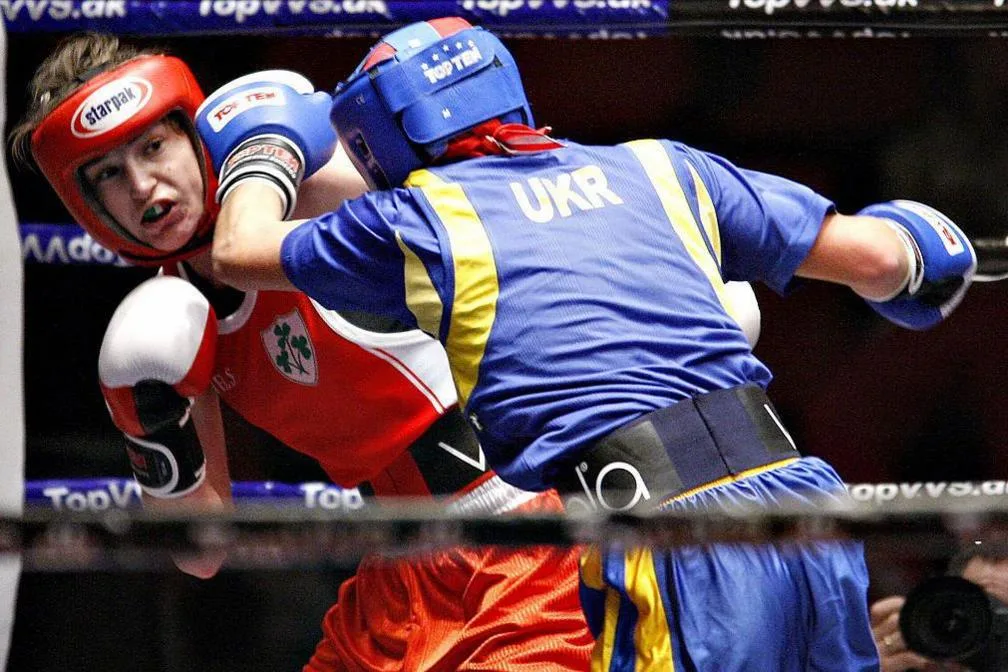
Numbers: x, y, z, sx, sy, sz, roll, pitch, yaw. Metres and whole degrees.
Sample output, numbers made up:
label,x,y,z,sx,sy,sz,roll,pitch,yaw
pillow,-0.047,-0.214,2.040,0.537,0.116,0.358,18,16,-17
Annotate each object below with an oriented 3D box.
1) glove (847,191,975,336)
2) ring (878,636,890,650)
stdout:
label,x,y,z,sx,sy,sz,roll,pitch,yaw
glove,1.072,-0.193,2.811,0.252,0.341,0.126,-26,2,11
ring,0.964,0.771,2.734,0.014,0.006,0.019,-34,43,11
